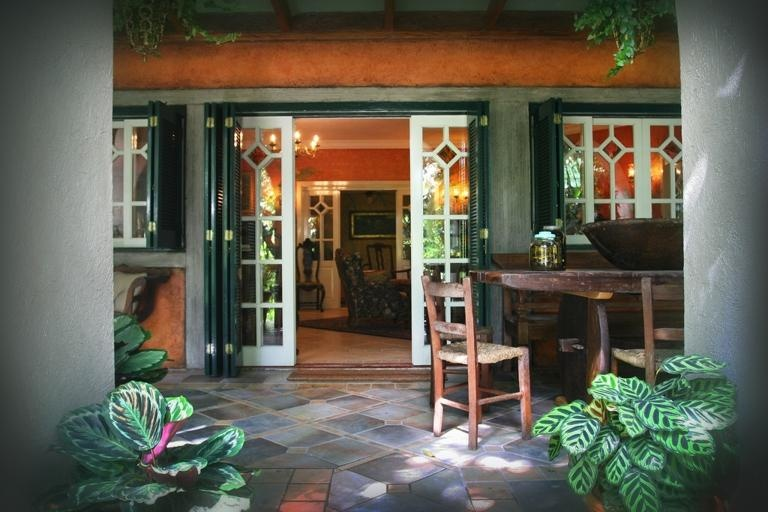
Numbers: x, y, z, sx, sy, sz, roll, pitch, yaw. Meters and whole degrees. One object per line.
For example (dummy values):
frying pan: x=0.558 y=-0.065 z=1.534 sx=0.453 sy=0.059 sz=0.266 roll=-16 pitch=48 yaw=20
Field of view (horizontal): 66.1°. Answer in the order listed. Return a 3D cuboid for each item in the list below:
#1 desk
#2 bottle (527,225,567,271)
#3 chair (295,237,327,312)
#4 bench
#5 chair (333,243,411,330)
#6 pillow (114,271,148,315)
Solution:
desk: x=1.254 y=0.381 z=3.804 sx=0.937 sy=0.521 sz=0.897 roll=-1 pitch=0 yaw=2
bottle: x=1.025 y=-0.058 z=3.769 sx=0.268 sy=0.280 sz=0.272 roll=-2 pitch=-2 yaw=42
chair: x=-1.305 y=0.325 z=10.544 sx=0.514 sy=1.288 sz=0.901 roll=0 pitch=4 yaw=-7
bench: x=1.188 y=0.370 z=3.652 sx=0.844 sy=0.473 sz=0.800 roll=0 pitch=-4 yaw=1
chair: x=-0.272 y=0.441 z=8.584 sx=1.112 sy=1.286 sz=1.062 roll=0 pitch=-1 yaw=-10
pillow: x=-2.220 y=0.309 z=5.133 sx=0.251 sy=0.284 sz=0.601 roll=-2 pitch=5 yaw=-23
